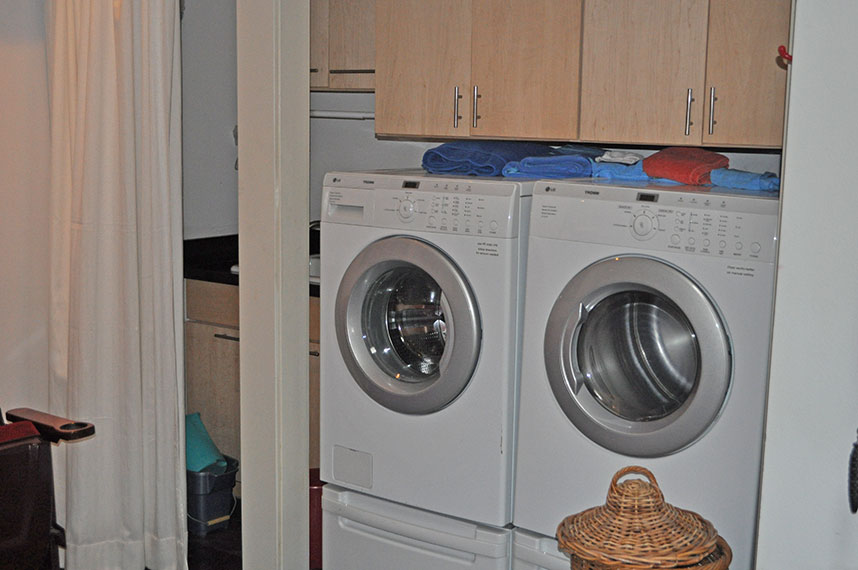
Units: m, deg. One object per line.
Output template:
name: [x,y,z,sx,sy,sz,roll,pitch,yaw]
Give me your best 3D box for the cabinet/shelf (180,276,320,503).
cabinet/shelf: [-0.802,0.417,3.426,0.985,0.586,0.347,0,-1,35]
